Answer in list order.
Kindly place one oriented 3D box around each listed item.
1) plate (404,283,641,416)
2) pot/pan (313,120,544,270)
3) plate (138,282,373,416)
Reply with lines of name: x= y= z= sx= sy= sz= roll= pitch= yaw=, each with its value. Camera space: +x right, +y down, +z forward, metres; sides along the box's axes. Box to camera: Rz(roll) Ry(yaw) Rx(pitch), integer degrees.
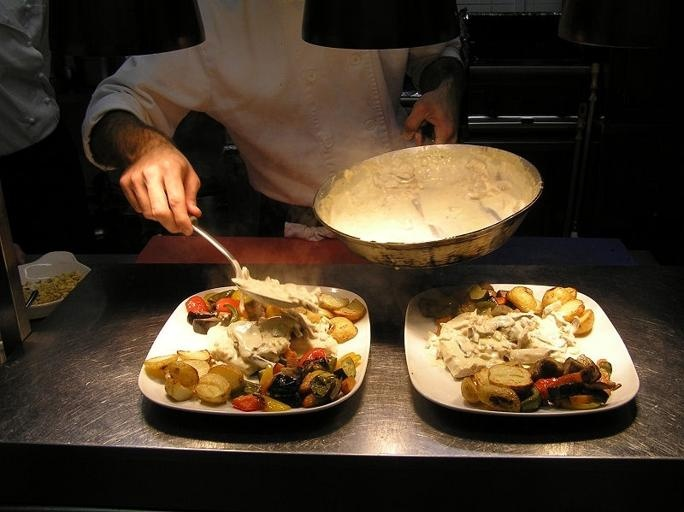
plate: x=0.320 y=0.172 z=1.023 sx=0.400 sy=0.049 sz=0.367 roll=1 pitch=29 yaw=1
pot/pan: x=0.170 y=-0.088 z=1.104 sx=0.449 sy=0.182 sz=0.378 roll=-2 pitch=29 yaw=-3
plate: x=-0.153 y=0.172 z=1.043 sx=0.419 sy=0.065 sz=0.384 roll=1 pitch=29 yaw=2
